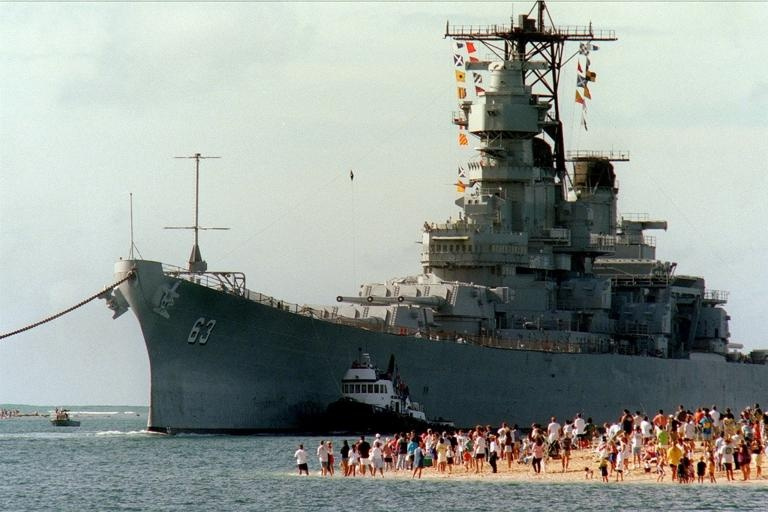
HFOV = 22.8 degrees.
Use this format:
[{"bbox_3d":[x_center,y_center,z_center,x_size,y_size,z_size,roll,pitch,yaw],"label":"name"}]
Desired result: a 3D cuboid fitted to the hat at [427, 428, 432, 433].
[{"bbox_3d":[1.759,6.711,73.034,0.179,0.107,0.238,12,38,-5],"label":"hat"}]
